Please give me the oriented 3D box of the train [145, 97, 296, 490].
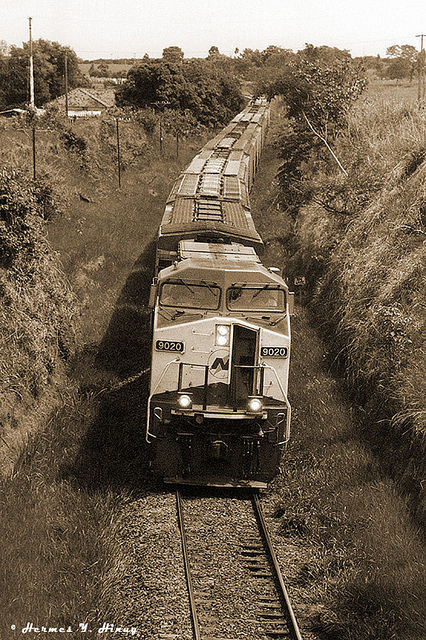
[{"bbox_3d":[0.065,-2.249,13.159,2.016,2.662,12.083,1,33,-1],"label":"train"}]
